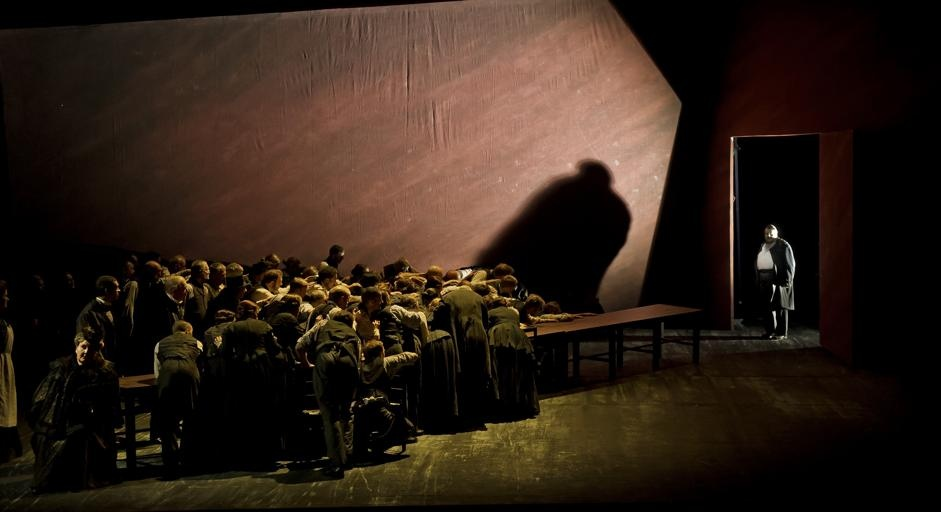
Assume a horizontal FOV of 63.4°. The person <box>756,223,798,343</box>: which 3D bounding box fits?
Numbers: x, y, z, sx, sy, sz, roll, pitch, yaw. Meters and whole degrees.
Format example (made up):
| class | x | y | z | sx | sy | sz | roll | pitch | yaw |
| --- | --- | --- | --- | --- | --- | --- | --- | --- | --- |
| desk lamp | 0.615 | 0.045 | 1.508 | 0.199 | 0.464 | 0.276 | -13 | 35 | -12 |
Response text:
| class | x | y | z | sx | sy | sz | roll | pitch | yaw |
| --- | --- | --- | --- | --- | --- | --- | --- | --- | --- |
| person | 6.443 | 0.556 | 16.127 | 0.741 | 2.391 | 0.622 | -4 | -7 | 18 |
